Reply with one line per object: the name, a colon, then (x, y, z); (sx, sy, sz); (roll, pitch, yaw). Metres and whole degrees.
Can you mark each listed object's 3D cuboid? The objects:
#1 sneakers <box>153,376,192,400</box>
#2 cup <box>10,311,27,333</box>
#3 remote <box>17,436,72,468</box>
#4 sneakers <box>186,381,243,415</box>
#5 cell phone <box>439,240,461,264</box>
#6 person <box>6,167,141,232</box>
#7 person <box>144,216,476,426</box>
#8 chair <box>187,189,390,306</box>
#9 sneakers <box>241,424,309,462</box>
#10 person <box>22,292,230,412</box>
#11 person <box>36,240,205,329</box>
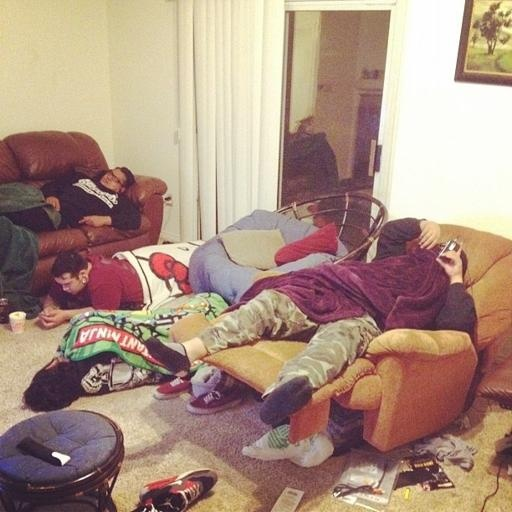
sneakers: (-0.403, 0.643, 2.417); (0.203, 0.074, 0.072); (-9, 33, -39)
cup: (-1.392, 0.387, 2.864); (0.098, 0.099, 0.100); (4, 17, -1)
remote: (-0.623, 0.566, 1.444); (0.115, 0.026, 0.068); (12, 10, 32)
sneakers: (-0.175, 0.660, 2.337); (0.286, 0.117, 0.096); (-11, 46, -32)
cell phone: (0.957, -0.031, 2.454); (0.143, 0.038, 0.076); (-46, 47, -13)
person: (-1.358, -0.405, 3.713); (0.959, 0.418, 0.719); (-9, 23, -26)
person: (0.422, 0.212, 2.195); (1.611, 0.375, 0.907); (-13, 24, -43)
chair: (0.233, -0.119, 3.159); (1.086, 0.412, 0.806); (-12, 25, -34)
sneakers: (0.085, 0.733, 1.962); (0.270, 0.086, 0.140); (-3, 7, -11)
person: (-0.610, 0.440, 2.476); (1.063, 0.299, 0.503); (-18, 8, -6)
person: (-0.724, 0.148, 2.990); (1.007, 0.299, 0.452); (-13, 21, -42)
